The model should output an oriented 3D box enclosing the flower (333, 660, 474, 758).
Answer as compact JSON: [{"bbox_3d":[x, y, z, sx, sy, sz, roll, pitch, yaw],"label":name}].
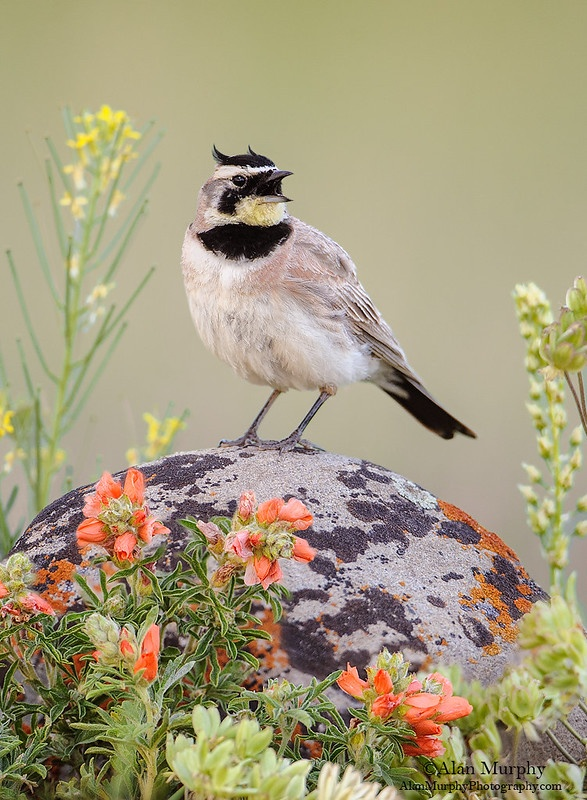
[{"bbox_3d":[0.166,0.441,1.623,0.185,0.097,0.158,34,-80,-2],"label":"flower"}]

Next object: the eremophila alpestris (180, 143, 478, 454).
[{"bbox_3d":[0.101,-0.275,3.493,1.097,0.768,0.619,2,1,-35],"label":"eremophila alpestris"}]
